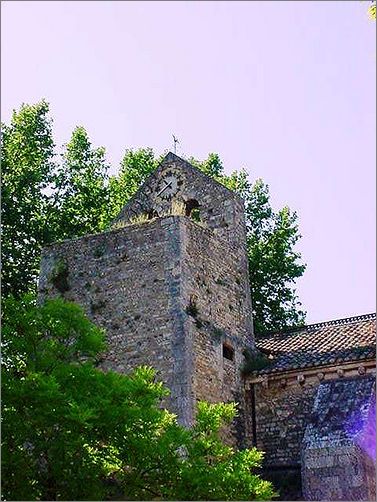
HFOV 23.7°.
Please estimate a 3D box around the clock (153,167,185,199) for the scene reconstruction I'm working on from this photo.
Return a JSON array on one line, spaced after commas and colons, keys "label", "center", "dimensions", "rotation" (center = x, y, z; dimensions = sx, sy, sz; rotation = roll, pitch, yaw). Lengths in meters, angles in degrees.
[{"label": "clock", "center": [-0.470, -1.707, 22.853], "dimensions": [0.779, 0.758, 0.123], "rotation": [22, -21, 44]}]
